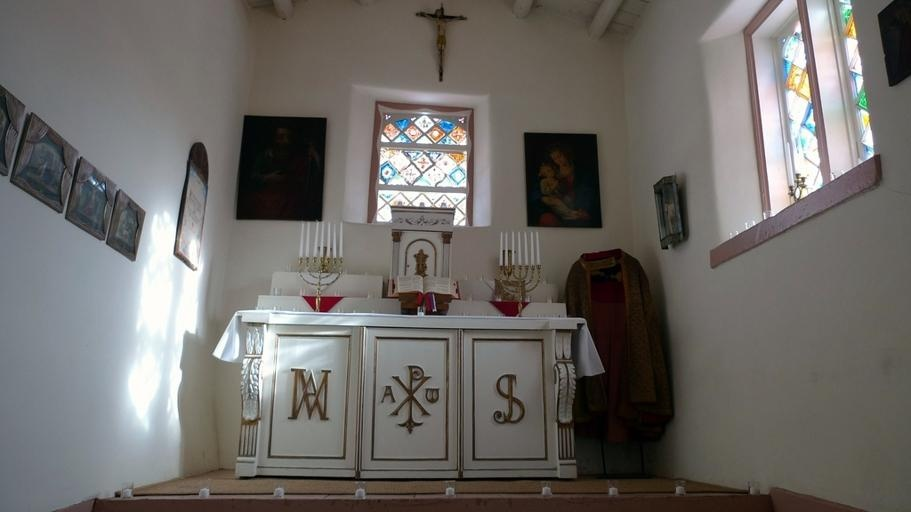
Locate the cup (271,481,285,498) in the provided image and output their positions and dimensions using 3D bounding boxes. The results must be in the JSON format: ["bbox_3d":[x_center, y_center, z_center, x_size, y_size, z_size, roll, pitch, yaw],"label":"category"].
[{"bbox_3d":[-1.487,1.937,5.171,0.125,0.113,0.111,1,-11,1],"label":"cup"}]

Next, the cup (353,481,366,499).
[{"bbox_3d":[-0.790,1.951,5.173,0.100,0.154,0.102,-1,-8,0],"label":"cup"}]

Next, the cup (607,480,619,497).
[{"bbox_3d":[1.325,1.971,5.277,0.106,0.124,0.111,0,-8,0],"label":"cup"}]

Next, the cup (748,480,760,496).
[{"bbox_3d":[2.568,2.003,5.358,0.101,0.111,0.102,8,-13,2],"label":"cup"}]

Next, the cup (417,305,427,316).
[{"bbox_3d":[-0.350,0.565,6.474,0.087,0.085,0.078,3,-6,-15],"label":"cup"}]

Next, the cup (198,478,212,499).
[{"bbox_3d":[-2.039,1.910,5.090,0.104,0.178,0.110,-3,-24,-1],"label":"cup"}]

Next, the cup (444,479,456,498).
[{"bbox_3d":[-0.054,1.974,5.233,0.101,0.066,0.102,0,-11,0],"label":"cup"}]

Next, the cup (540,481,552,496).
[{"bbox_3d":[0.767,1.967,5.240,0.096,0.095,0.094,-1,-10,0],"label":"cup"}]
